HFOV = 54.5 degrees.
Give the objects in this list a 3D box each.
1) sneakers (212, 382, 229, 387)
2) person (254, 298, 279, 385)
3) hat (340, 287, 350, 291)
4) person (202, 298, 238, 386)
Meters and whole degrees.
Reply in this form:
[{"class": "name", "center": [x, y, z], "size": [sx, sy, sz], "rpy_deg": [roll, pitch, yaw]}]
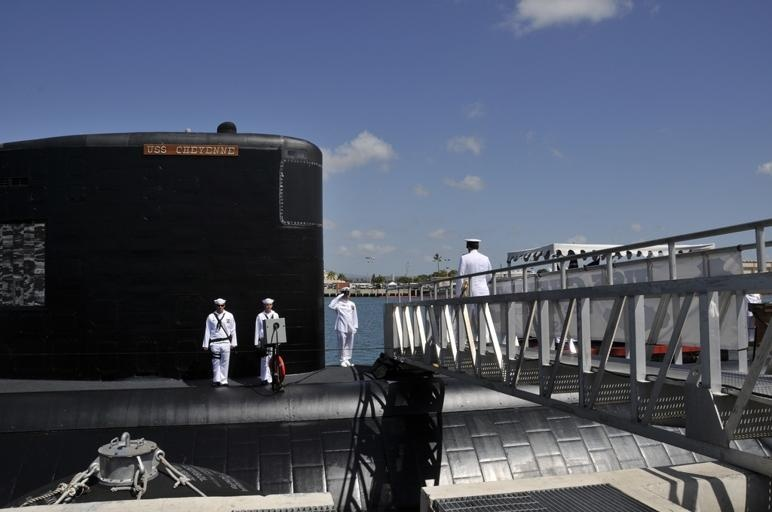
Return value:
[{"class": "sneakers", "center": [-2.851, 2.210, 12.925], "size": [0.306, 0.105, 0.094], "rpy_deg": [-3, -4, 16]}, {"class": "person", "center": [-2.028, 1.472, 12.903], "size": [0.434, 1.382, 0.725], "rpy_deg": [-2, 1, -13]}, {"class": "hat", "center": [-0.882, 0.722, 16.349], "size": [0.111, 0.050, 0.153], "rpy_deg": [-2, 0, -40]}, {"class": "person", "center": [-2.867, 1.468, 12.877], "size": [0.604, 1.425, 0.522], "rpy_deg": [-2, 1, -21]}]
